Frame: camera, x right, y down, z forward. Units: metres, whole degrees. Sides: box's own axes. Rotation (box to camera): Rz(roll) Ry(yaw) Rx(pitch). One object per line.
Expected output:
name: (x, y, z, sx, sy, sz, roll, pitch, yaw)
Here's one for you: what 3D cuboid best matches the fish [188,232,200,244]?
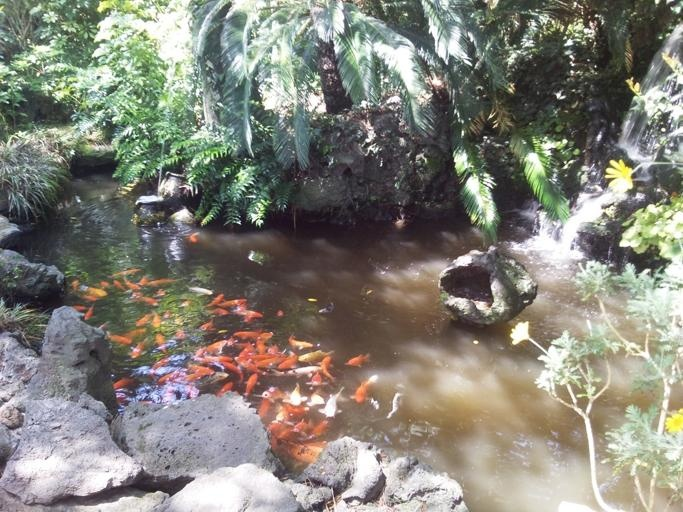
fish: (-2.378, -0.296, 9.105, 0.121, 0.076, 0.212, -7, 29, -1)
